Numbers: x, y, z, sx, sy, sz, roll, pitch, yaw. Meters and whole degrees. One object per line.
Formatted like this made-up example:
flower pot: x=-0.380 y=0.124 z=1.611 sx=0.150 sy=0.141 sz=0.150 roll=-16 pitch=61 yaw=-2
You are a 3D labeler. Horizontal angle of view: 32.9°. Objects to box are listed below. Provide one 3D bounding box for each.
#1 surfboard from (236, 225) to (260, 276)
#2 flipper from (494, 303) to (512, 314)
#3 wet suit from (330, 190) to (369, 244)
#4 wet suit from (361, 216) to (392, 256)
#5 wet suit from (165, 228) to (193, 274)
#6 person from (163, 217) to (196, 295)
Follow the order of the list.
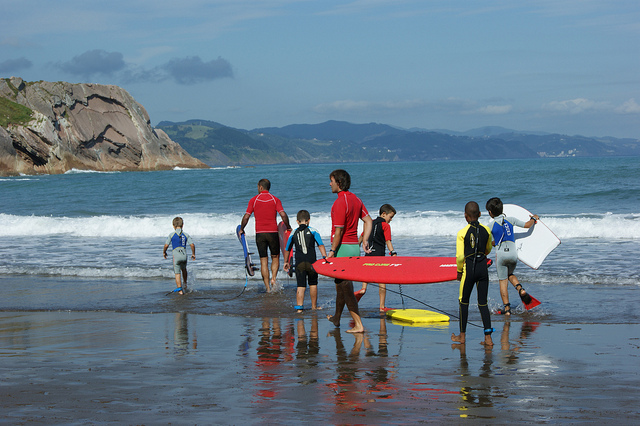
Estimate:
surfboard: x=-2.884 y=1.232 z=40.475 sx=0.652 sy=0.569 sz=2.343 roll=-18 pitch=48 yaw=-2
flipper: x=6.688 y=3.404 z=38.519 sx=0.716 sy=0.431 sz=0.251 roll=2 pitch=-2 yaw=29
wet suit: x=1.000 y=0.124 z=37.437 sx=1.150 sy=1.896 sz=0.442 roll=-2 pitch=5 yaw=0
wet suit: x=2.015 y=0.799 z=38.518 sx=1.554 sy=1.383 sz=0.596 roll=3 pitch=5 yaw=39
wet suit: x=-5.278 y=1.371 z=40.342 sx=0.922 sy=1.723 sz=0.991 roll=-2 pitch=5 yaw=-7
person: x=-5.237 y=1.532 z=40.218 sx=1.085 sy=2.835 sz=0.914 roll=-3 pitch=5 yaw=-7
